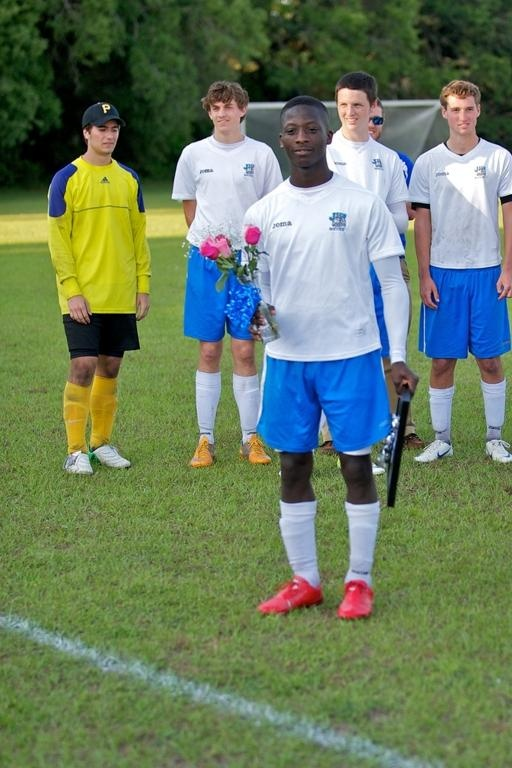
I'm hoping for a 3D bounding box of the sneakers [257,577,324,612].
[{"bbox_3d":[0.151,0.785,3.593,0.277,0.110,0.097,-7,6,-29],"label":"sneakers"}]

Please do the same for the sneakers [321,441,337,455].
[{"bbox_3d":[0.431,0.380,5.578,0.115,0.050,0.145,6,6,-6],"label":"sneakers"}]

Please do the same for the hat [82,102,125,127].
[{"bbox_3d":[-0.823,-1.415,5.022,0.160,0.117,0.214,-14,13,-37],"label":"hat"}]

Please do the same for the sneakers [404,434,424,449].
[{"bbox_3d":[0.949,0.352,5.662,0.059,0.061,0.151,-1,-1,-10],"label":"sneakers"}]

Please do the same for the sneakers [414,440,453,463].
[{"bbox_3d":[1.023,0.391,5.426,0.287,0.105,0.093,-9,11,-38],"label":"sneakers"}]

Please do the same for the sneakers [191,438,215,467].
[{"bbox_3d":[-0.310,0.385,5.361,0.135,0.148,0.302,-3,14,-3],"label":"sneakers"}]

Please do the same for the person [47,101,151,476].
[{"bbox_3d":[-0.890,-0.522,5.209,0.393,1.993,0.756,4,16,24],"label":"person"}]

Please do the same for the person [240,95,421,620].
[{"bbox_3d":[0.258,-0.065,3.356,0.599,1.865,0.424,-1,15,5],"label":"person"}]

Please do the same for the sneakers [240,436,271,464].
[{"bbox_3d":[-0.018,0.386,5.413,0.087,0.099,0.243,-7,8,-21],"label":"sneakers"}]

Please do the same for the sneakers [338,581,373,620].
[{"bbox_3d":[0.361,0.798,3.460,0.089,0.068,0.167,0,13,10],"label":"sneakers"}]

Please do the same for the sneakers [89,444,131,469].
[{"bbox_3d":[-0.830,0.413,5.396,0.283,0.108,0.098,7,8,38],"label":"sneakers"}]
